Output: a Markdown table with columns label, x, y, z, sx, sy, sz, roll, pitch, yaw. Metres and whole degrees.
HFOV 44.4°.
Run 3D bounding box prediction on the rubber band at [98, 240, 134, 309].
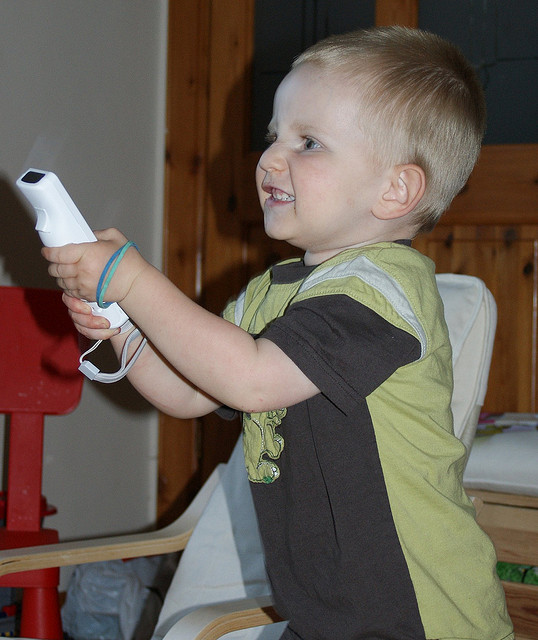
| label | x | y | z | sx | sy | sz | roll | pitch | yaw |
| --- | --- | --- | --- | --- | --- | --- | --- | --- | --- |
| rubber band | -0.116 | -0.035 | 0.517 | 0.025 | 0.048 | 0.028 | 0 | 17 | -10 |

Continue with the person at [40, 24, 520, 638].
| label | x | y | z | sx | sy | sz | roll | pitch | yaw |
| --- | --- | --- | --- | --- | --- | --- | --- | --- | --- |
| person | 0.071 | 0.044 | 1.125 | 0.754 | 1.060 | 0.484 | 2 | -2 | -13 |
